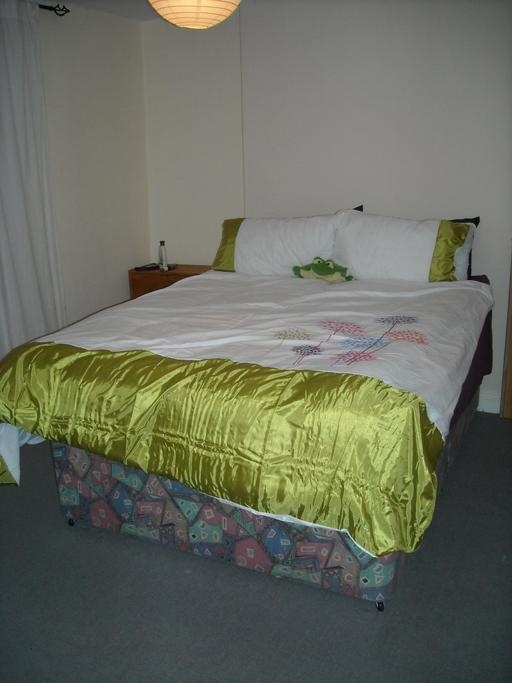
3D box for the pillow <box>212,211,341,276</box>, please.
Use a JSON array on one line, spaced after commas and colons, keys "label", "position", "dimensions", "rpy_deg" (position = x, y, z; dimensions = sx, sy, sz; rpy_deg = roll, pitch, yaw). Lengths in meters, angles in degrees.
[{"label": "pillow", "position": [0.100, -0.551, 2.952], "dimensions": [0.572, 0.363, 0.174], "rpy_deg": [6, 2, 31]}]
